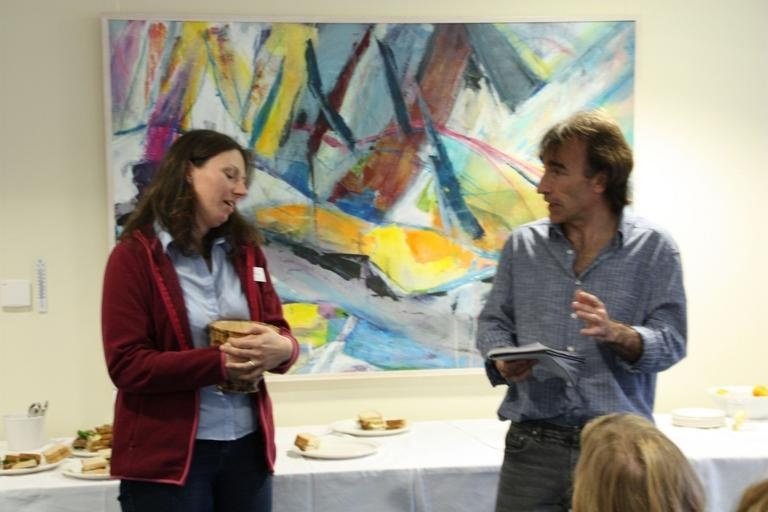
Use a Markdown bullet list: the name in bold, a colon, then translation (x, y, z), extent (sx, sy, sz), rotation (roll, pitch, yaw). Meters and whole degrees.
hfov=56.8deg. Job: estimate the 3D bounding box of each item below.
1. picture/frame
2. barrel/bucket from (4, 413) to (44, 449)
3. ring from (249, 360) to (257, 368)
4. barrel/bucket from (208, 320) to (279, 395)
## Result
- **picture/frame**: translation (-0.191, -0.306, 3.623), extent (2.703, 1.469, 0.036), rotation (1, -1, -10)
- **barrel/bucket**: translation (-1.809, 0.881, 3.568), extent (0.212, 0.129, 0.171), rotation (3, -8, -21)
- **ring**: translation (-0.503, 0.417, 2.724), extent (0.028, 0.023, 0.007), rotation (9, -1, -23)
- **barrel/bucket**: translation (-0.599, 0.387, 2.759), extent (0.292, 0.258, 0.288), rotation (3, -3, 0)
